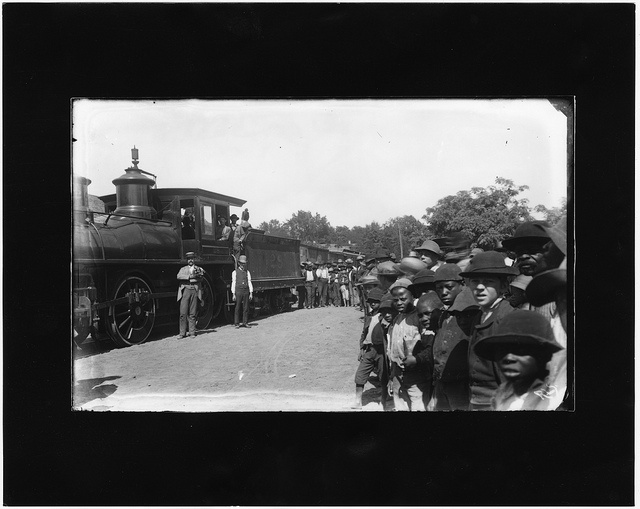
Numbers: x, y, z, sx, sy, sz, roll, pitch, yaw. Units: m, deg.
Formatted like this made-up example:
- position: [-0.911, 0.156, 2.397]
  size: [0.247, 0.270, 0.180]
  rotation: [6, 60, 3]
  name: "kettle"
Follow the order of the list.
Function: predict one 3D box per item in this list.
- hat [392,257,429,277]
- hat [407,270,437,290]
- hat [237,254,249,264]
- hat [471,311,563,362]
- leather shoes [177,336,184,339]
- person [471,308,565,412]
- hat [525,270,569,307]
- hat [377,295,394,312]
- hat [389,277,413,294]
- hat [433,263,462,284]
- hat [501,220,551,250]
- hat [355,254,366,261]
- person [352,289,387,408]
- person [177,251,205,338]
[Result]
- position: [0.928, 0.126, 6.571]
  size: [0.238, 0.181, 0.192]
  rotation: [10, -9, -1]
  name: "hat"
- position: [1.012, 0.261, 6.317]
  size: [0.160, 0.167, 0.208]
  rotation: [-2, -18, 8]
  name: "hat"
- position: [-1.397, 0.078, 11.503]
  size: [0.170, 0.108, 0.202]
  rotation: [1, 2, -4]
  name: "hat"
- position: [1.674, 0.733, 5.446]
  size: [0.532, 0.241, 0.495]
  rotation: [-1, -11, -1]
  name: "hat"
- position: [-2.171, 1.268, 9.912]
  size: [0.121, 0.053, 0.046]
  rotation: [2, -3, 13]
  name: "leather shoes"
- position: [1.787, 0.927, 5.698]
  size: [0.763, 0.898, 0.998]
  rotation: [-6, -15, 34]
  name: "person"
- position: [2.137, 0.280, 6.081]
  size: [0.370, 0.374, 0.086]
  rotation: [40, -5, -34]
  name: "hat"
- position: [0.656, 0.473, 6.337]
  size: [0.133, 0.156, 0.155]
  rotation: [0, -31, 18]
  name: "hat"
- position: [0.765, 0.285, 6.128]
  size: [0.173, 0.137, 0.129]
  rotation: [-27, 2, 8]
  name: "hat"
- position: [1.184, 0.171, 5.926]
  size: [0.211, 0.112, 0.156]
  rotation: [3, -4, -19]
  name: "hat"
- position: [1.920, -0.179, 5.987]
  size: [0.437, 0.267, 0.221]
  rotation: [2, 3, 5]
  name: "hat"
- position: [0.679, 0.035, 10.880]
  size: [0.132, 0.064, 0.157]
  rotation: [-2, -4, -15]
  name: "hat"
- position: [0.532, 0.958, 6.597]
  size: [0.349, 1.222, 0.498]
  rotation: [2, 3, 3]
  name: "person"
- position: [-2.054, 0.621, 10.113]
  size: [0.387, 1.290, 0.744]
  rotation: [1, 3, -11]
  name: "person"
